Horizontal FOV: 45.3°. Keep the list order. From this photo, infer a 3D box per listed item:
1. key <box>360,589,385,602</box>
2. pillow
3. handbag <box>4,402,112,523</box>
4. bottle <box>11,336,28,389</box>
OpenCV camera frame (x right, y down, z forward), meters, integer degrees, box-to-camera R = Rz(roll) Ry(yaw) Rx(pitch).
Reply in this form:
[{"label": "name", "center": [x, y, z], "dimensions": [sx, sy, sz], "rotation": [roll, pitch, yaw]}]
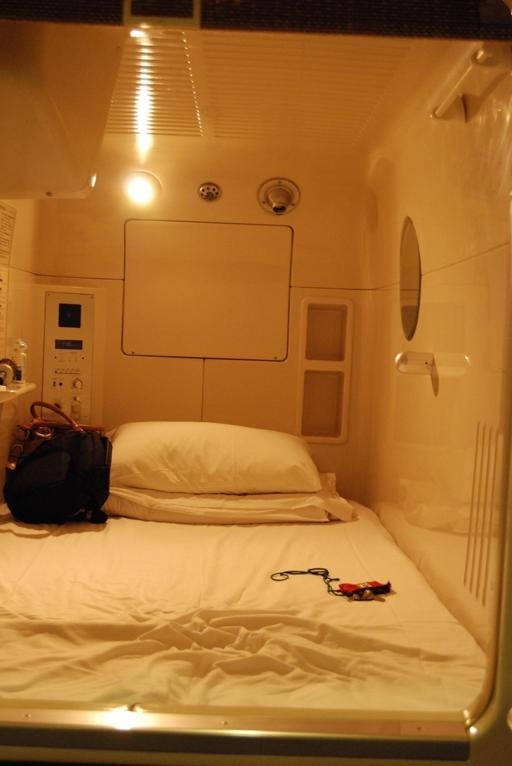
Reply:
[{"label": "key", "center": [0.221, 0.399, 1.147], "dimensions": [0.023, 0.008, 0.024], "rotation": [1, 4, -15]}, {"label": "pillow", "center": [-0.154, 0.185, 1.818], "dimensions": [0.455, 0.209, 0.131], "rotation": [2, -2, -7]}, {"label": "handbag", "center": [-0.487, 0.195, 1.467], "dimensions": [0.253, 0.344, 0.189], "rotation": [-1, -9, 11]}, {"label": "bottle", "center": [-0.522, -0.045, 1.351], "dimensions": [0.020, 0.094, 0.077], "rotation": [4, -2, -12]}]
